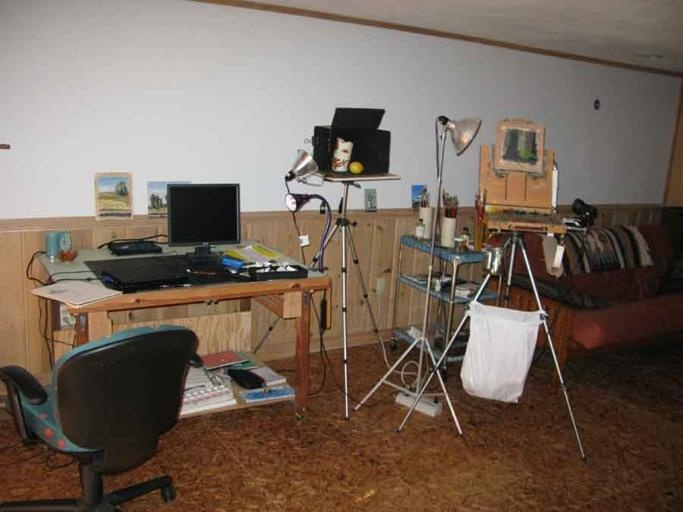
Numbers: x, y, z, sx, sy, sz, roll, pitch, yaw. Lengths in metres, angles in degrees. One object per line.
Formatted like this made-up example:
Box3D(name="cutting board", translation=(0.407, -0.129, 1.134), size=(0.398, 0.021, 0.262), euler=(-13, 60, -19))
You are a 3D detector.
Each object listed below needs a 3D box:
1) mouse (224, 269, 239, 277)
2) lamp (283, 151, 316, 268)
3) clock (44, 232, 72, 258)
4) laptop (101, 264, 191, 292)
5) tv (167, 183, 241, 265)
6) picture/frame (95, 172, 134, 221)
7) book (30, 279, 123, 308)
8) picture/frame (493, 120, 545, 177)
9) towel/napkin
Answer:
Box3D(name="mouse", translation=(-0.658, 0.095, 3.308), size=(0.048, 0.029, 0.126), euler=(-8, 12, -33))
Box3D(name="lamp", translation=(-0.290, -0.322, 3.953), size=(0.226, 0.876, 0.707), euler=(-2, 10, -6))
Box3D(name="clock", translation=(-1.796, -0.075, 3.538), size=(0.185, 0.154, 0.162), euler=(7, 13, 38))
Box3D(name="laptop", translation=(-1.112, 0.118, 3.127), size=(0.483, 0.090, 0.354), euler=(-6, 11, -23))
Box3D(name="tv", translation=(-0.893, -0.216, 3.575), size=(0.492, 0.531, 0.178), euler=(-1, 2, -22))
Box3D(name="picture/frame", translation=(-1.567, -0.415, 3.773), size=(0.305, 0.431, 0.043), euler=(-2, 5, -28))
Box3D(name="book", translation=(-1.391, 0.198, 2.898), size=(0.357, 0.077, 0.315), euler=(7, 13, 37))
Box3D(name="picture/frame", translation=(1.233, -0.764, 3.857), size=(0.367, 0.390, 0.126), euler=(-4, 11, -15))
Box3D(name="towel/napkin", translation=(1.006, 0.634, 3.516), size=(0.580, 0.700, 0.366), euler=(8, 10, 18))
